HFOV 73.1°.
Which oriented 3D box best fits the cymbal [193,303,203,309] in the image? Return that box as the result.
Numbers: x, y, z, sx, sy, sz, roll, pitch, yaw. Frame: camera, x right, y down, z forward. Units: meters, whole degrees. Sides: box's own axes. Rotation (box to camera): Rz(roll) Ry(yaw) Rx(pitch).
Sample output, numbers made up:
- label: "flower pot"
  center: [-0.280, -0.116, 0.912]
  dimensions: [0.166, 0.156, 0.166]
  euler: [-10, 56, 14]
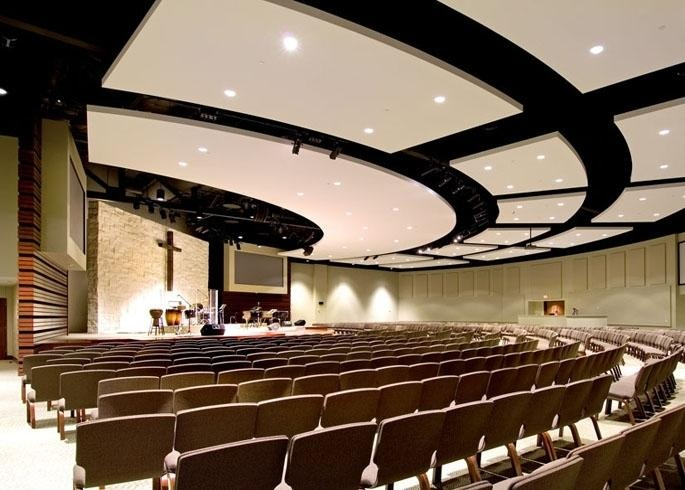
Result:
- label: "cymbal"
  center: [-5.462, 2.348, 17.590]
  dimensions: [0.291, 0.092, 0.306]
  euler: [12, -40, -26]

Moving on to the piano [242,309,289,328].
- label: "piano"
  center: [-3.710, 3.452, 21.773]
  dimensions: [1.477, 0.595, 1.537]
  euler: [-7, -13, 29]

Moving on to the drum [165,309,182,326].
- label: "drum"
  center: [-5.529, 2.382, 14.989]
  dimensions: [0.476, 0.640, 0.512]
  euler: [-2, -9, 0]
